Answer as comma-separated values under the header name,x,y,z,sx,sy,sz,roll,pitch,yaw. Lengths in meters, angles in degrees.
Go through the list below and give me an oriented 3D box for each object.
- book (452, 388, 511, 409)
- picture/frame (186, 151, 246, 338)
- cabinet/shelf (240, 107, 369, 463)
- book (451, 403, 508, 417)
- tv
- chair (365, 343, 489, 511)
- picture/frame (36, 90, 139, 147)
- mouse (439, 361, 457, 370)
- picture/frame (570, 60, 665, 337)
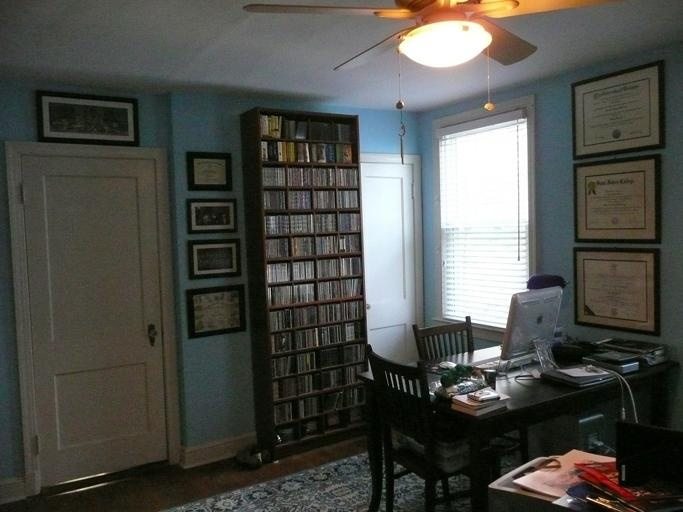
name,x,y,z,sx,sy,sz,roll,pitch,yaw
book,0.821,0.830,3.241,0.164,0.035,0.150,-7,8,-37
picture/frame,-1.141,-0.106,4.788,0.529,1.571,0.179,-7,7,-18
cabinet/shelf,-0.343,0.198,4.979,1.252,2.964,0.440,-8,8,-28
book,0.800,0.884,3.216,0.307,0.049,0.128,-3,6,7
tv,1.345,0.504,3.707,0.608,0.550,0.190,-4,16,-41
chair,0.507,1.208,3.513,0.364,1.181,0.769,-9,8,-34
picture/frame,-2.028,-1.095,4.456,0.772,0.393,0.054,1,11,-12
mouse,0.776,0.780,3.996,0.119,0.028,0.087,0,2,-38
picture/frame,2.102,-0.421,4.268,0.213,1.995,0.677,-11,10,-43
